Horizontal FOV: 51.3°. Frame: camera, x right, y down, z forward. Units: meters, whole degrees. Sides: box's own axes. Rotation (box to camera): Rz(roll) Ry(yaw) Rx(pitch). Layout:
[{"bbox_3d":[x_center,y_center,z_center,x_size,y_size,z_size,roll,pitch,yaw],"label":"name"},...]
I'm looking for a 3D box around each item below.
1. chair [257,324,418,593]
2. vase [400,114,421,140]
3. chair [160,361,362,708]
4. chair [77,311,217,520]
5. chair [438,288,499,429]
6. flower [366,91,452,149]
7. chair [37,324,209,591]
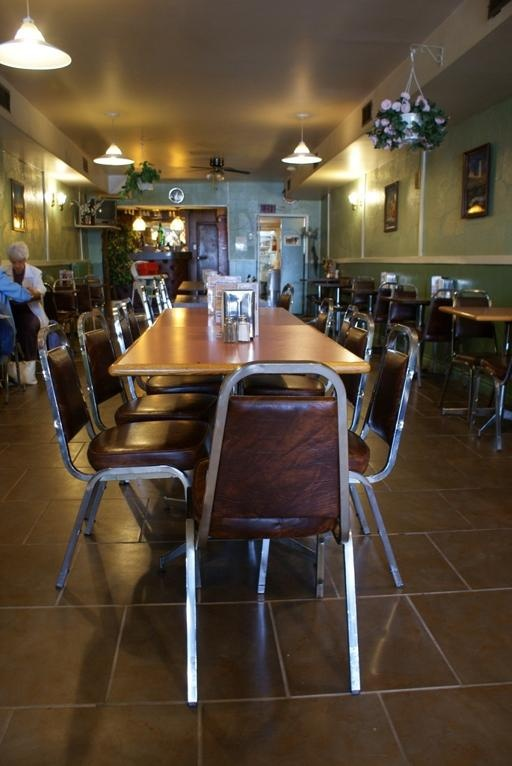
[{"bbox_3d":[0.264,0.212,1.802,0.433,0.771,0.416,3,10,6],"label":"chair"},{"bbox_3d":[1.201,-1.999,4.184,0.148,0.171,0.149,-3,11,-3],"label":"vase"},{"bbox_3d":[0.016,0.325,1.142,0.426,0.755,0.384,2,6,11],"label":"chair"},{"bbox_3d":[-0.375,0.117,1.831,0.404,0.680,0.371,7,14,4],"label":"chair"},{"bbox_3d":[2.016,-0.275,4.806,0.576,1.005,0.517,7,-3,-42],"label":"chair"},{"bbox_3d":[1.209,-2.152,4.316,0.549,0.545,0.560,0,6,-4],"label":"flower"},{"bbox_3d":[-0.408,0.188,1.772,0.569,0.766,0.513,0,9,10],"label":"chair"}]
